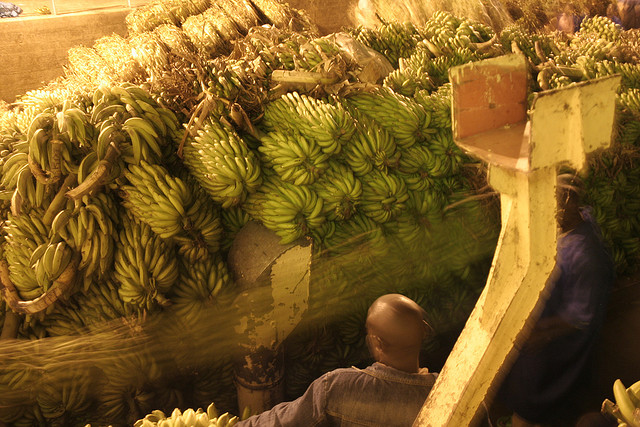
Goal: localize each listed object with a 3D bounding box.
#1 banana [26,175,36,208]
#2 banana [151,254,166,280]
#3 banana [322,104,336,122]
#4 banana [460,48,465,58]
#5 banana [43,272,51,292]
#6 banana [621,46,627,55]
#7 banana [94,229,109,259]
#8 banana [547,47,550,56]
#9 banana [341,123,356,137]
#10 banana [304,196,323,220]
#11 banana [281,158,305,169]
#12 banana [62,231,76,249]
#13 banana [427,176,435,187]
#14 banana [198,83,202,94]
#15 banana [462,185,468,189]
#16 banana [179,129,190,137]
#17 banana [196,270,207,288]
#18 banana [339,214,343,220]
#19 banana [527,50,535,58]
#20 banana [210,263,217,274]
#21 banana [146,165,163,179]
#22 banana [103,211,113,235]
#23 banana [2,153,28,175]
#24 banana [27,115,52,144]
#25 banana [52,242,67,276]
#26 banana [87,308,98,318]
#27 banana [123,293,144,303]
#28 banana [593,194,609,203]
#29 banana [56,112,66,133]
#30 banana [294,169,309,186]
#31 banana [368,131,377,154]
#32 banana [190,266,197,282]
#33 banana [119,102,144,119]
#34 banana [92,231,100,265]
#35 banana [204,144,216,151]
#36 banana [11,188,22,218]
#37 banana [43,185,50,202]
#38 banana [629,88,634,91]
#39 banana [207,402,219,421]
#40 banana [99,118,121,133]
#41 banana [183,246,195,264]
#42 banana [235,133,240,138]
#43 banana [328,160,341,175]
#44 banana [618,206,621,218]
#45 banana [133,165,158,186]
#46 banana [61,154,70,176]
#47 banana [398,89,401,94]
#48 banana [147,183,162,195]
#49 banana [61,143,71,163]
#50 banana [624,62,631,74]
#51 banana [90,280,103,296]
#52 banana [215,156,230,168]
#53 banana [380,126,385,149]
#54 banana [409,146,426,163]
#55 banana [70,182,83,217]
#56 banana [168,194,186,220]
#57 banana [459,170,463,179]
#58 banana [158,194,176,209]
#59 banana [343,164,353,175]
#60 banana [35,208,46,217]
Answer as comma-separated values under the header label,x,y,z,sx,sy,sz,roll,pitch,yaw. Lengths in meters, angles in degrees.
label,x,y,z,sx,sy,sz,roll,pitch,yaw
banana,-1.926,-0.141,4.364,0.047,0.210,0.046,-7,-8,39
banana,-1.098,0.365,4.467,0.040,0.209,0.050,15,4,-24
banana,0.067,-0.709,4.644,0.025,0.138,0.035,-33,1,13
banana,1.200,-1.332,5.450,0.023,0.093,0.017,23,-10,-6
banana,-1.802,0.463,4.319,0.032,0.123,0.037,-2,-3,-13
banana,2.827,-1.508,6.050,0.020,0.033,0.121,-4,37,45
banana,-1.458,0.203,4.410,0.051,0.204,0.068,-18,4,-30
banana,2.074,-1.457,5.887,0.034,0.062,0.014,2,-1,-9
banana,0.219,-0.589,4.732,0.099,0.084,0.029,-42,54,-2
banana,-0.018,-0.032,4.681,0.039,0.153,0.118,29,-9,18
banana,-0.192,-0.352,4.628,0.194,0.064,0.057,-8,53,-1
banana,-1.673,0.189,4.377,0.068,0.108,0.043,-15,21,-6
banana,0.841,-0.235,4.875,0.022,0.103,0.026,-20,19,42
banana,-0.878,-0.911,4.812,0.018,0.088,0.023,-13,-2,-20
banana,1.119,-0.199,4.995,0.028,0.023,0.006,0,-8,0
banana,-0.954,-0.566,4.622,0.067,0.043,0.017,34,-6,33
banana,-0.830,0.450,4.586,0.037,0.152,0.043,-19,4,4
banana,0.161,0.032,4.725,0.006,0.027,0.027,21,56,12
banana,1.863,-1.396,5.746,0.037,0.068,0.015,4,-16,-5
banana,-0.748,0.402,4.636,0.035,0.058,0.062,-4,23,23
banana,-1.137,-0.288,4.499,0.051,0.148,0.035,-51,6,-35
banana,-1.424,0.070,4.449,0.032,0.160,0.039,-11,10,24
banana,-2.075,-0.338,4.423,0.207,0.107,0.045,-13,20,2
banana,-1.911,-0.596,4.452,0.072,0.069,0.296,-1,43,11
banana,-1.727,0.291,4.353,0.044,0.241,0.061,3,-14,39
banana,-1.559,0.685,4.484,0.044,0.077,0.018,-29,0,15
banana,-1.270,0.586,4.453,0.134,0.049,0.023,-13,20,2
banana,2.332,-0.110,5.379,0.080,0.030,0.072,-35,-24,26
banana,-1.735,-0.608,4.395,0.066,0.124,0.069,-20,22,-20
banana,-0.125,-0.233,4.662,0.044,0.154,0.056,33,7,17
banana,0.386,-0.515,4.738,0.042,0.176,0.037,-12,5,-44
banana,-0.886,0.433,4.580,0.037,0.075,0.023,-9,-5,-11
banana,-1.307,-0.712,4.545,0.030,0.131,0.096,-36,45,13
banana,-1.504,0.240,4.387,0.046,0.188,0.060,0,-2,27
banana,-0.763,-0.462,4.548,0.060,0.038,0.032,-17,21,-9
banana,-2.022,-0.061,4.347,0.068,0.214,0.056,-3,-2,12
banana,-1.840,-0.135,4.388,0.047,0.149,0.035,-13,37,-42
banana,2.782,-1.097,5.802,0.008,0.029,0.031,-26,-9,36
banana,-0.700,1.308,4.310,0.038,0.116,0.080,2,-23,-18
banana,-1.443,-0.615,4.473,0.149,0.057,0.050,-30,27,-36
banana,-0.929,0.298,4.569,0.053,0.093,0.022,11,16,-3
banana,-0.585,-0.549,4.643,0.031,0.013,0.045,2,53,-2
banana,0.114,-0.334,4.711,0.036,0.160,0.039,-32,3,3
banana,2.523,-0.011,5.465,0.015,0.092,0.023,0,1,-11
banana,-1.196,-0.250,4.459,0.038,0.148,0.033,-42,4,25
banana,-1.716,-0.294,4.403,0.040,0.080,0.017,-12,3,2
banana,0.636,-0.965,5.198,0.013,0.049,0.010,26,-34,-31
banana,-1.124,-0.161,4.470,0.038,0.114,0.034,-55,8,-22
banana,-1.715,-0.405,4.428,0.035,0.148,0.039,-22,-6,33
banana,2.766,-1.293,5.833,0.028,0.113,0.032,8,-30,-21
banana,-1.525,0.509,4.470,0.033,0.149,0.046,-16,2,-24
banana,-0.668,-0.353,4.557,0.038,0.126,0.034,-52,-2,-5
banana,0.470,-0.552,4.769,0.035,0.144,0.024,-6,-5,-22
banana,0.730,-0.426,4.845,0.027,0.131,0.040,-30,-18,-42
banana,-1.613,-0.071,4.412,0.081,0.257,0.056,8,-3,42
banana,-0.973,-0.057,4.458,0.045,0.241,0.059,-30,14,-9
banana,1.092,-0.291,4.997,0.033,0.060,0.016,-15,21,-6
banana,-1.039,-0.083,4.475,0.044,0.136,0.038,-38,9,48
banana,0.213,-0.324,4.746,0.033,0.128,0.025,-6,-16,-45
banana,-1.877,-0.003,4.382,0.019,0.069,0.012,-46,10,-23
